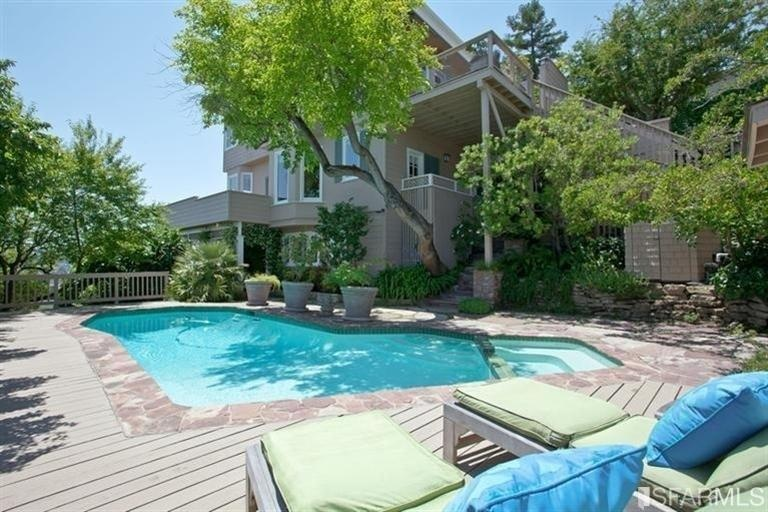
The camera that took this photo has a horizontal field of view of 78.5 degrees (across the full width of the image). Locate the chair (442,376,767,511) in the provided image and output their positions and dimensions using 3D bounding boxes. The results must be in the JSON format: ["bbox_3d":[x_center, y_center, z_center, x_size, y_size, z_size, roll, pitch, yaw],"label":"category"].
[{"bbox_3d":[2.592,2.242,5.908,1.571,1.085,2.170,-2,4,-31],"label":"chair"}]

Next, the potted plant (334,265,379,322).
[{"bbox_3d":[-0.497,1.077,13.705,1.390,1.747,1.586,-5,-7,33],"label":"potted plant"}]

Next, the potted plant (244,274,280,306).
[{"bbox_3d":[-4.122,1.118,15.930,1.112,0.950,1.102,1,-10,-6],"label":"potted plant"}]
